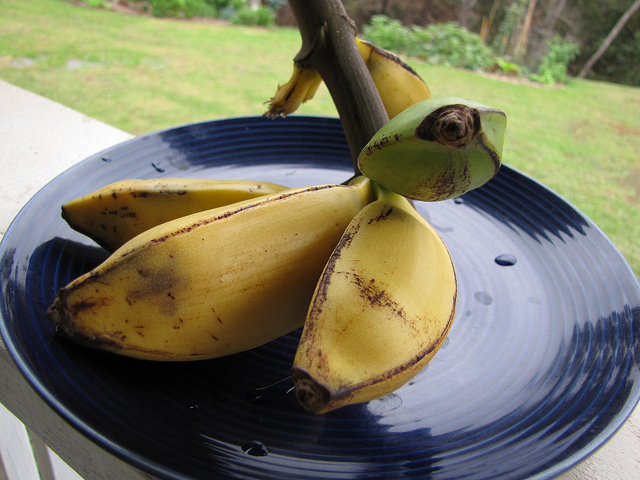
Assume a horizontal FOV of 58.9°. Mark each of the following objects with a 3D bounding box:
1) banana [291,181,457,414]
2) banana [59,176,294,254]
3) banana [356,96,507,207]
[{"bbox_3d":[0.050,0.044,0.487,0.099,0.092,0.279,40,33,-8],"label":"banana"},{"bbox_3d":[-0.143,-0.035,0.638,0.083,0.092,0.290,8,5,43],"label":"banana"},{"bbox_3d":[0.121,-0.058,0.530,0.141,0.180,0.066,-3,74,16],"label":"banana"}]
